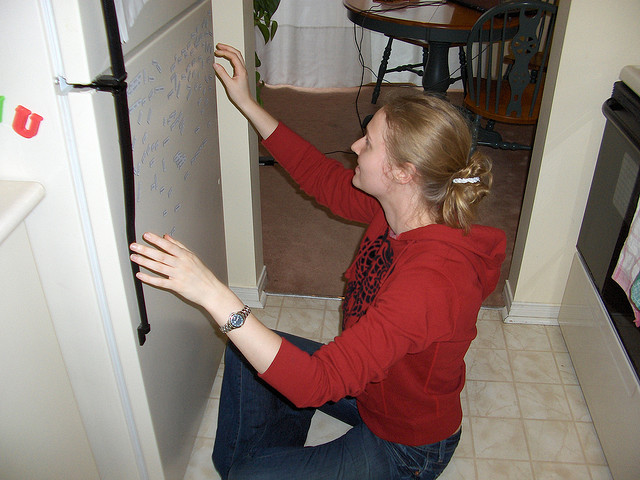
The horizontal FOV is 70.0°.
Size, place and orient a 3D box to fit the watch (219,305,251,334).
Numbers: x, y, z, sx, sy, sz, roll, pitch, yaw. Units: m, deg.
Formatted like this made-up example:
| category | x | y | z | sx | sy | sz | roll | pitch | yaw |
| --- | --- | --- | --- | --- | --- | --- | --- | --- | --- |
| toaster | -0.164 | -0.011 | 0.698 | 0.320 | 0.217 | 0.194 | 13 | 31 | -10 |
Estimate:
| category | x | y | z | sx | sy | sz | roll | pitch | yaw |
| --- | --- | --- | --- | --- | --- | --- | --- | --- | --- |
| watch | -0.171 | 0.165 | 0.951 | 0.024 | 0.057 | 0.048 | 41 | 34 | -22 |

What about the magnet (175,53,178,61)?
| category | x | y | z | sx | sy | sz | roll | pitch | yaw |
| --- | --- | --- | --- | --- | --- | --- | --- | --- | --- |
| magnet | -0.369 | -0.473 | 1.182 | 0.004 | 0.019 | 0.009 | 11 | 45 | 2 |

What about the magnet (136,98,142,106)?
| category | x | y | z | sx | sy | sz | roll | pitch | yaw |
| --- | --- | --- | --- | --- | --- | --- | --- | --- | --- |
| magnet | -0.392 | -0.301 | 0.994 | 0.005 | 0.006 | 0.024 | 12 | 45 | -16 |

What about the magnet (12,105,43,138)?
| category | x | y | z | sx | sy | sz | roll | pitch | yaw |
| --- | --- | --- | --- | --- | --- | --- | --- | --- | --- |
| magnet | -0.543 | -0.222 | 0.852 | 0.051 | 0.054 | 0.016 | 27 | 11 | -14 |
